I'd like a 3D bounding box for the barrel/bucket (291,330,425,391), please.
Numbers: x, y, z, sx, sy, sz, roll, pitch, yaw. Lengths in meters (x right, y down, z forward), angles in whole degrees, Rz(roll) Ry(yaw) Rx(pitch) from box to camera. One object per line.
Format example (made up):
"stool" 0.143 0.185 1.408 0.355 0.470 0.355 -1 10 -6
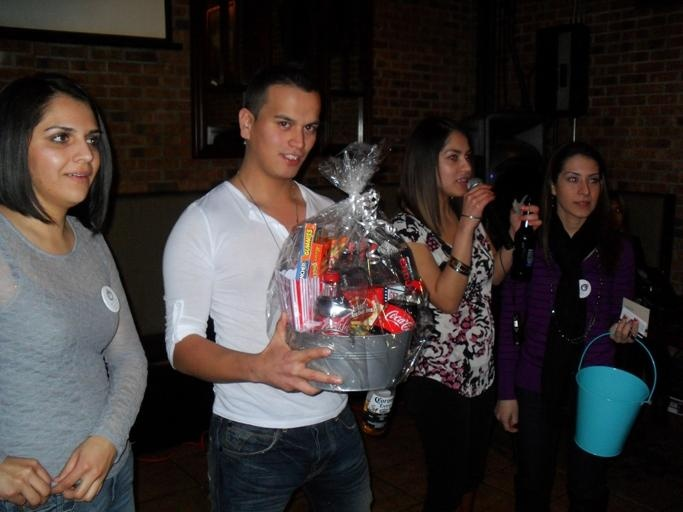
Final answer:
"barrel/bucket" 0.033 0.331 1.662 0.439 0.170 0.455 1 -9 0

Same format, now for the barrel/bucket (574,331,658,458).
"barrel/bucket" 1.253 0.687 2.382 0.307 0.542 0.420 6 15 26

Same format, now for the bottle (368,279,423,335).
"bottle" 0.176 0.153 1.579 0.113 0.057 0.159 17 27 29

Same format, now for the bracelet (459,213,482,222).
"bracelet" 0.591 -0.177 2.341 0.082 0.037 0.055 2 13 11

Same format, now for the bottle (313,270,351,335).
"bottle" -0.026 0.147 1.584 0.118 0.174 0.242 1 -3 16

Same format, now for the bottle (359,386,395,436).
"bottle" 0.129 0.563 1.883 0.098 0.153 0.090 9 11 -2

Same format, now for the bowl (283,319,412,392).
"bowl" 0.028 0.308 1.513 0.355 0.198 0.112 -3 14 -10

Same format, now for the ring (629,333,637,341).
"ring" 1.410 0.390 2.468 0.025 0.020 0.035 1 4 8

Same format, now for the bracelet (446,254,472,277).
"bracelet" 0.520 0.050 2.278 0.087 0.038 0.087 30 7 29
